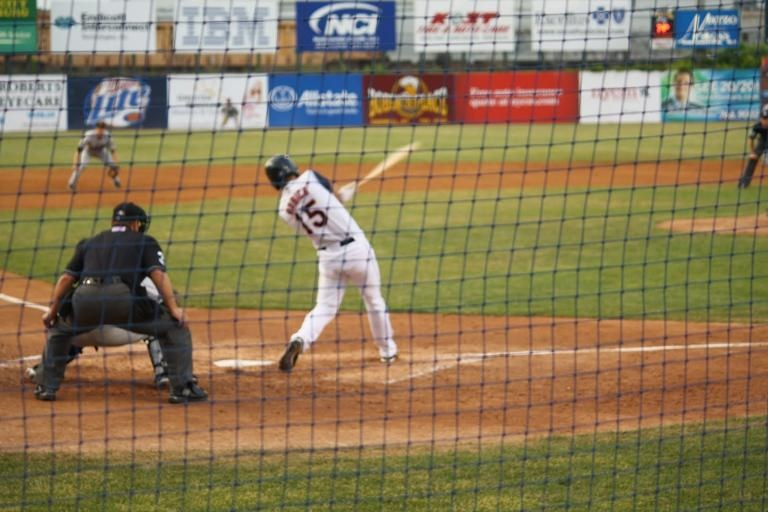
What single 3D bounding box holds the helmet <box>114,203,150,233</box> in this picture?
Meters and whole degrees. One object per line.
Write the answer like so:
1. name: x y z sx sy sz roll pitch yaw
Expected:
1. helmet: -3.834 -0.610 23.282 0.480 0.479 0.596 11 14 36
